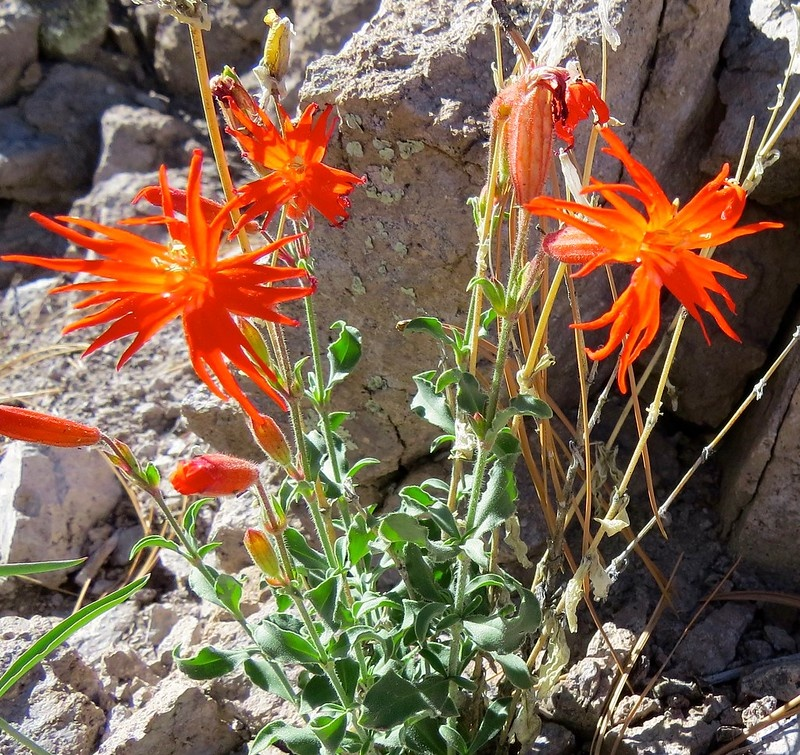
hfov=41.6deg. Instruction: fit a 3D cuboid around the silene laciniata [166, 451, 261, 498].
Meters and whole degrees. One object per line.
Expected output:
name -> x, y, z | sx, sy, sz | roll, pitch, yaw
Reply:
silene laciniata -> -0.400, 0.205, 2.240 | 0.157, 0.090, 0.074 | 7, 61, -27
